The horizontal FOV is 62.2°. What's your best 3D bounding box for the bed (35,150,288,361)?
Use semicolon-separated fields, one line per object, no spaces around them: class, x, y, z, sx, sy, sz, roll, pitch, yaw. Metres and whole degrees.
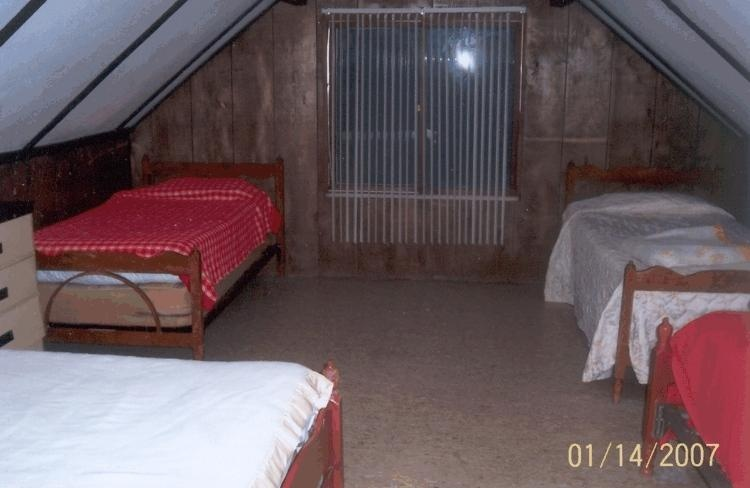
bed;-1.736;-0.033;5.249;1.499;1.196;2.361;1;16;1
